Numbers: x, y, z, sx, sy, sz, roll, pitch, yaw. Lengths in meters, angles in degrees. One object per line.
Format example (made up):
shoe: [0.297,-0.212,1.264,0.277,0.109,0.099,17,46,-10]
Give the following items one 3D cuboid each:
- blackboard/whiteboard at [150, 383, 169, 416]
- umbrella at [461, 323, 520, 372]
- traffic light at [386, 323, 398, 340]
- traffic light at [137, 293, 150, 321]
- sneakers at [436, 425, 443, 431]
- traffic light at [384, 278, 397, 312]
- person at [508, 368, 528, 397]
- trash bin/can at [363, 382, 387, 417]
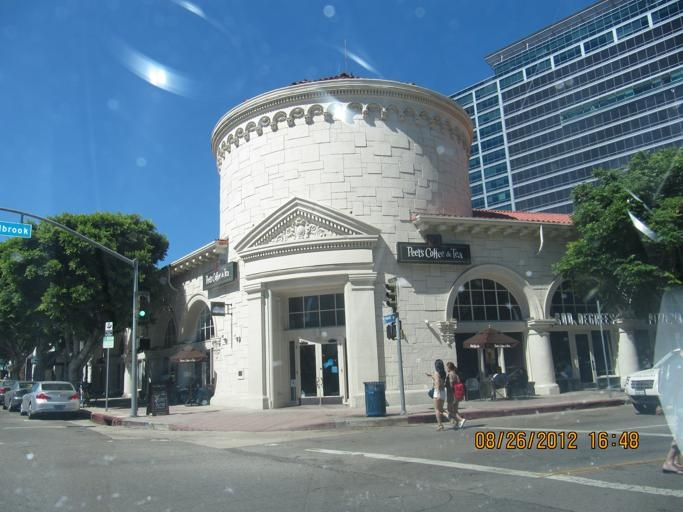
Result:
blackboard/whiteboard: [-7.701,6.102,25.036,0.824,1.257,0.659,5,-17,-21]
umbrella: [6.488,4.344,26.526,2.367,1.849,2.196,-1,-18,2]
traffic light: [1.828,2.716,21.811,0.336,0.667,0.667,-1,-16,0]
traffic light: [-8.250,2.025,24.677,0.465,1.212,1.139,4,-17,-19]
sneakers: [2.997,5.290,18.167,0.138,0.149,0.295,-8,-30,8]
traffic light: [1.834,1.385,21.870,0.397,1.325,0.770,-3,-16,6]
person: [8.014,5.860,27.162,1.060,1.041,1.921,-2,1,17]
trash bin/can: [1.196,5.171,21.365,0.691,1.196,0.538,0,-16,-4]
